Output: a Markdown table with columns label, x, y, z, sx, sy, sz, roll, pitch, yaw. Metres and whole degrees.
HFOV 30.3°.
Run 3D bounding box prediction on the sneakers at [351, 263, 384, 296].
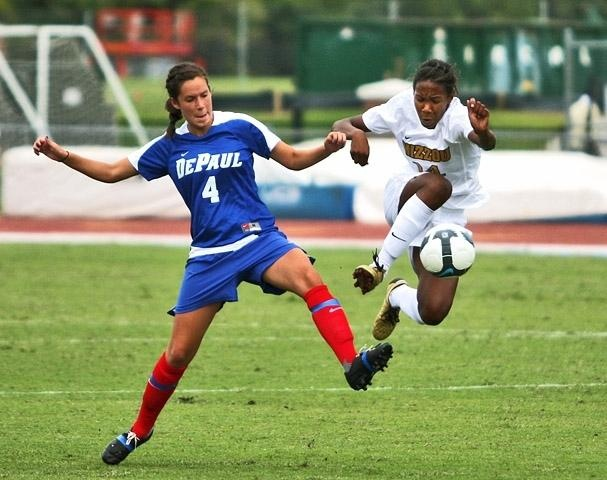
| label | x | y | z | sx | sy | sz | roll | pitch | yaw |
| --- | --- | --- | --- | --- | --- | --- | --- | --- | --- |
| sneakers | 0.521 | 0.301 | 8.908 | 0.179 | 0.114 | 0.282 | 29 | 9 | 15 |

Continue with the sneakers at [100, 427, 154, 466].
| label | x | y | z | sx | sy | sz | roll | pitch | yaw |
| --- | --- | --- | --- | --- | --- | --- | --- | --- | --- |
| sneakers | -1.300 | 1.517 | 8.380 | 0.135 | 0.148 | 0.378 | 36 | 48 | 25 |

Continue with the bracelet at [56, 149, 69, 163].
| label | x | y | z | sx | sy | sz | roll | pitch | yaw |
| --- | --- | --- | --- | --- | --- | --- | --- | --- | --- |
| bracelet | -1.843 | -0.647 | 8.665 | 0.079 | 0.096 | 0.044 | 41 | 14 | -16 |

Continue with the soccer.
| label | x | y | z | sx | sy | sz | roll | pitch | yaw |
| --- | --- | --- | --- | --- | --- | --- | --- | --- | --- |
| soccer | 1.150 | 0.074 | 8.983 | 0.447 | 0.394 | 0.417 | 0 | -3 | 1 |
